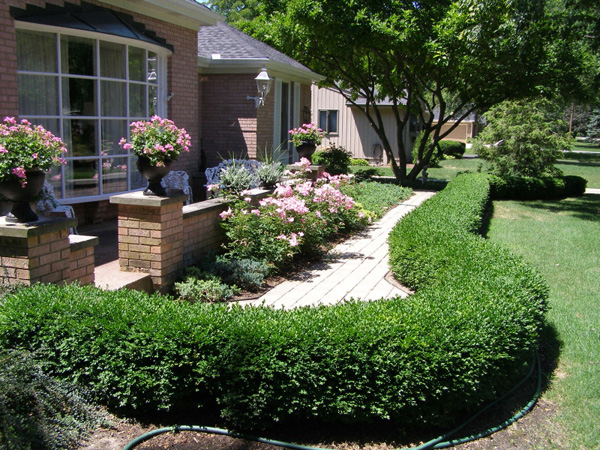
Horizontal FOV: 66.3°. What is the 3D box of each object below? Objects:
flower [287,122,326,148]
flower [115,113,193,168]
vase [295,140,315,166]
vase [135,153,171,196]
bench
[{"bbox_3d":[0.173,-2.200,11.575,1.170,0.663,1.050,0,17,-3],"label":"flower"},{"bbox_3d":[-1.766,-1.032,5.609,0.687,0.582,0.502,7,13,17],"label":"flower"},{"bbox_3d":[0.133,-1.749,11.434,0.795,0.513,0.717,0,5,-2],"label":"vase"},{"bbox_3d":[-1.777,-0.606,5.514,0.575,0.485,0.475,0,2,-7],"label":"vase"},{"bbox_3d":[-1.344,-1.121,9.595,1.401,0.646,1.212,2,15,12],"label":"bench"}]
